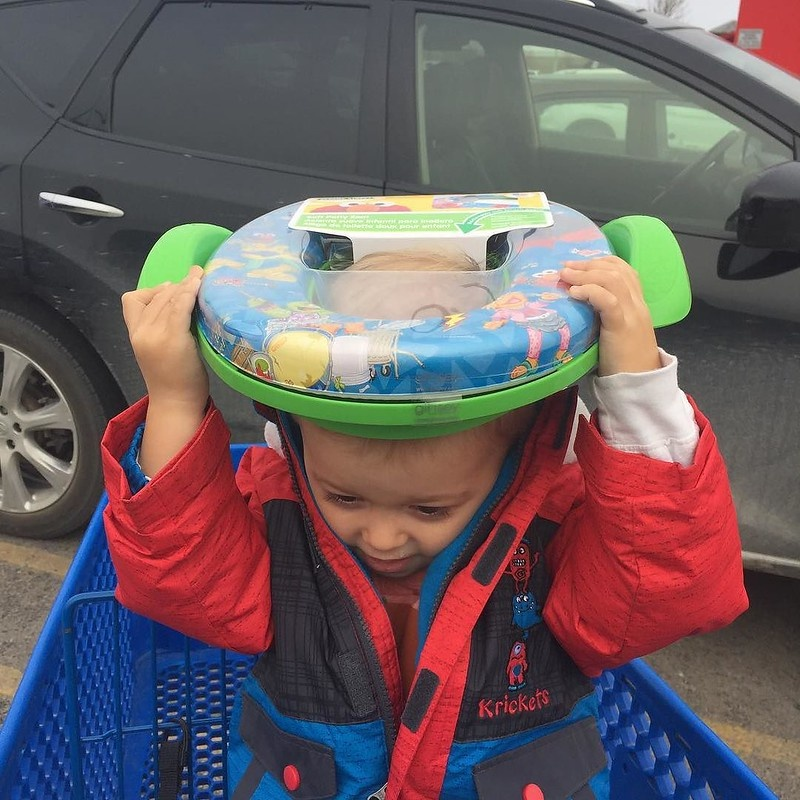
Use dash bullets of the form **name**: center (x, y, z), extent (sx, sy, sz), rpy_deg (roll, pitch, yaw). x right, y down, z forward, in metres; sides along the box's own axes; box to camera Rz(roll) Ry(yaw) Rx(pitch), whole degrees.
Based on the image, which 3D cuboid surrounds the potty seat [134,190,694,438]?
- **potty seat**: center (0.032, -0.155, 1.321), extent (0.831, 0.233, 0.614), rpy_deg (-6, 31, -11)
